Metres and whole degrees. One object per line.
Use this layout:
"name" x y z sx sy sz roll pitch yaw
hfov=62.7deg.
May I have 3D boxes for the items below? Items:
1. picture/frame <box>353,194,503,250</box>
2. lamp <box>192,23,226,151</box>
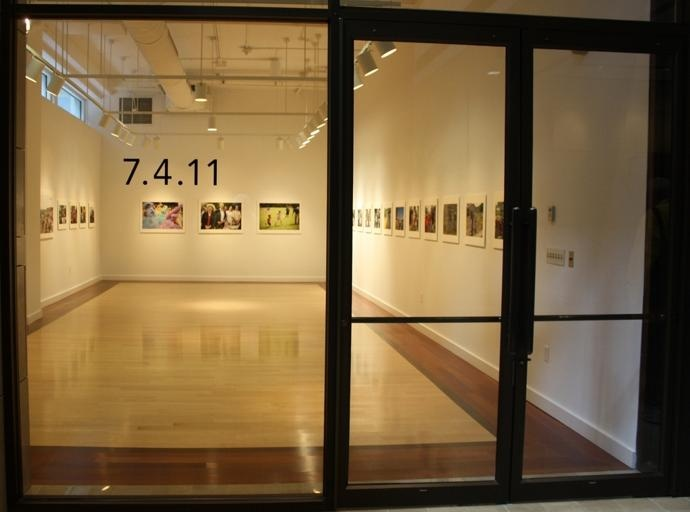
"picture/frame" 0.635 -0.267 4.197 1.073 0.409 0.151 2 0 -4
"lamp" -1.022 -1.242 4.200 0.223 0.830 0.249 1 0 -16
